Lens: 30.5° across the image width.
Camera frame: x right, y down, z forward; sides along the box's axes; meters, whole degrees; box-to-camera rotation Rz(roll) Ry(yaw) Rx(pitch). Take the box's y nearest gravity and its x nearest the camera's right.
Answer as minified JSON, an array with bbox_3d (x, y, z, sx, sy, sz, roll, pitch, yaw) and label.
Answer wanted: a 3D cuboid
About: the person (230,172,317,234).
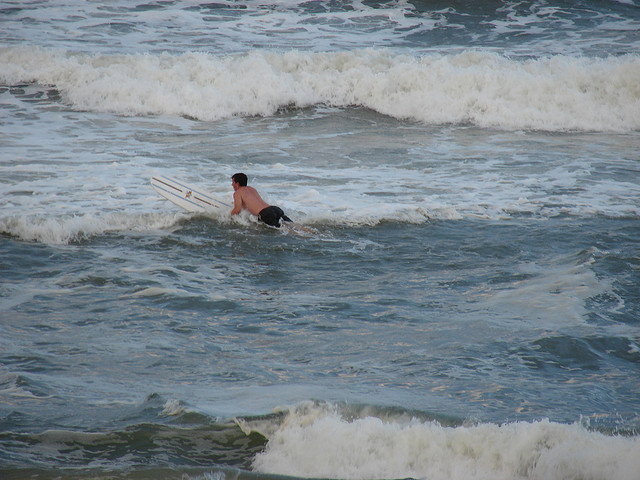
[{"bbox_3d":[-1.017,-0.678,24.359,2.188,0.832,0.779,24,37,20],"label":"person"}]

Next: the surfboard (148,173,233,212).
[{"bbox_3d":[-2.723,-0.961,24.864,1.789,0.719,0.522,5,13,29],"label":"surfboard"}]
